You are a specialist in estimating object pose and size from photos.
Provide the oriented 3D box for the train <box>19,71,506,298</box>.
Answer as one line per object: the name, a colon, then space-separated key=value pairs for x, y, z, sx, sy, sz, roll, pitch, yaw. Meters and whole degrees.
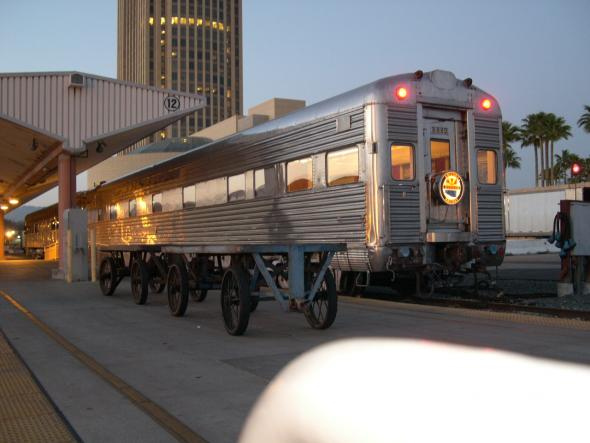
train: x=-2.003 y=-0.141 z=16.445 sx=3.027 sy=4.638 sz=16.121 roll=-1 pitch=-3 yaw=-38
